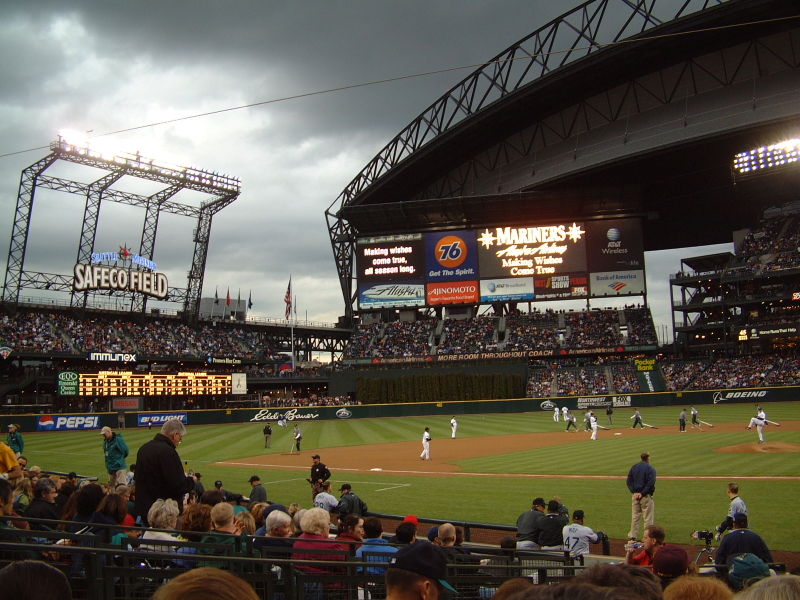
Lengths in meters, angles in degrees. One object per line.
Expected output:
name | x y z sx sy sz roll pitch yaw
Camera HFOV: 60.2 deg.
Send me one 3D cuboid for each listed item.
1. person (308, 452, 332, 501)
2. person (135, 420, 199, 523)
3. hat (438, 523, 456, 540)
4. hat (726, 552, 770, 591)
person | -2.066 4.462 16.775 0.508 1.280 0.374 4 -6 2
person | -3.679 2.650 10.674 0.827 1.578 0.990 2 -8 -20
hat | 0.723 3.631 10.778 0.218 0.297 0.293 4 33 5
hat | 4.426 3.489 8.797 0.483 0.392 0.354 -4 -8 22
